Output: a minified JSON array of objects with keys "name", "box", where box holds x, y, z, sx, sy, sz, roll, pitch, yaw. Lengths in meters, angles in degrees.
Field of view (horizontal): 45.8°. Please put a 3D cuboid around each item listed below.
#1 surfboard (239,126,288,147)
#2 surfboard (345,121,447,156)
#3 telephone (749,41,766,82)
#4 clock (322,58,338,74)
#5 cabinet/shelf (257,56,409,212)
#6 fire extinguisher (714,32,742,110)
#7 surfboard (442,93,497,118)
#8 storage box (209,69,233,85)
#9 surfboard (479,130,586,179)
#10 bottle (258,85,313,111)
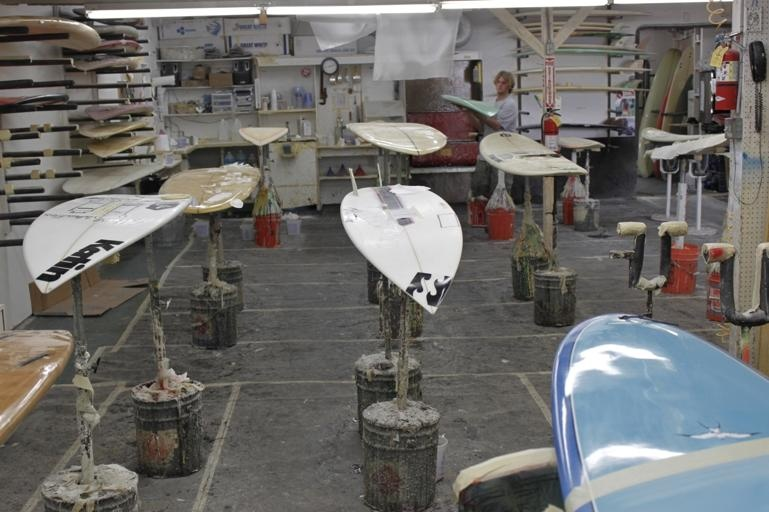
[{"name":"surfboard","box":[-1.453,-1.456,11.043,0.623,0.117,0.550,-2,20,-7]},{"name":"surfboard","box":[0.088,-0.912,7.215,0.743,0.274,0.792,-2,13,-4]},{"name":"telephone","box":[2.678,-1.407,6.580,0.132,0.271,0.065,1,-2,-29]},{"name":"clock","box":[-0.845,-2.883,13.789,0.228,0.249,0.125,-3,14,-7]},{"name":"cabinet/shelf","box":[-0.786,-1.784,12.323,2.907,2.538,0.904,-2,11,-7]},{"name":"fire extinguisher","box":[2.594,-1.363,6.962,0.171,0.519,0.296,3,14,19]},{"name":"surfboard","box":[0.798,-1.392,8.601,0.474,0.112,0.303,21,12,33]},{"name":"storage box","box":[-2.437,-2.648,13.608,0.355,0.212,0.104,-3,14,-6]},{"name":"surfboard","box":[1.216,-0.843,7.867,0.778,0.369,0.995,-4,13,-13]},{"name":"bottle","box":[-1.487,-2.392,13.882,0.690,0.242,0.422,-3,18,-10]}]
